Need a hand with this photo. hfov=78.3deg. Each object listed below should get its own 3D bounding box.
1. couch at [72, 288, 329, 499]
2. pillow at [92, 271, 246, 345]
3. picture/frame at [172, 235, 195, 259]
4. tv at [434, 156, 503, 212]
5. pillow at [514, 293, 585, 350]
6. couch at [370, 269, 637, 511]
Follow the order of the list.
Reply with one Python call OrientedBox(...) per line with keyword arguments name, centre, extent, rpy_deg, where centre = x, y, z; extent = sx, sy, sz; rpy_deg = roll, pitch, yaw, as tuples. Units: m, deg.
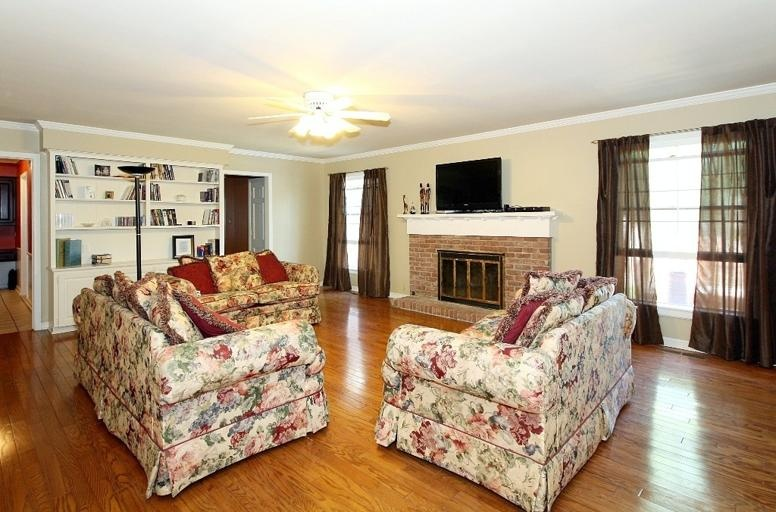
OrientedBox(name="couch", centre=(-1.486, 0.673, 4.115), extent=(1.384, 1.022, 2.135), rpy_deg=(-6, 8, -40))
OrientedBox(name="pillow", centre=(-1.973, 0.353, 4.030), extent=(1.140, 0.351, 0.724), rpy_deg=(25, 10, 23))
OrientedBox(name="picture/frame", centre=(-3.309, -0.141, 7.655), extent=(0.040, 0.408, 0.379), rpy_deg=(1, 3, 44))
OrientedBox(name="tv", centre=(1.290, -1.108, 7.384), extent=(0.957, 0.691, 0.099), rpy_deg=(1, 5, 42))
OrientedBox(name="pillow", centre=(1.320, 0.512, 3.809), extent=(0.642, 0.369, 0.222), rpy_deg=(-1, 4, -28))
OrientedBox(name="couch", centre=(0.987, 1.077, 4.157), extent=(1.525, 1.421, 2.558), rpy_deg=(5, 4, 37))
